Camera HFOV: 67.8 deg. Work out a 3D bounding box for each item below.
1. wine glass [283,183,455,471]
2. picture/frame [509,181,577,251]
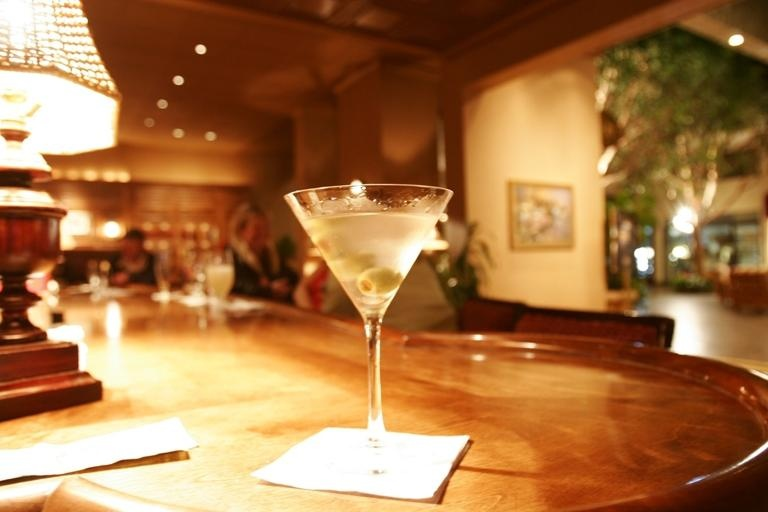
[{"bbox_3d":[-0.019,0.112,0.937,0.301,0.397,0.299,-11,-21,36],"label":"wine glass"},{"bbox_3d":[1.738,-0.455,6.237,1.087,0.686,0.040,-6,7,-39],"label":"picture/frame"}]
